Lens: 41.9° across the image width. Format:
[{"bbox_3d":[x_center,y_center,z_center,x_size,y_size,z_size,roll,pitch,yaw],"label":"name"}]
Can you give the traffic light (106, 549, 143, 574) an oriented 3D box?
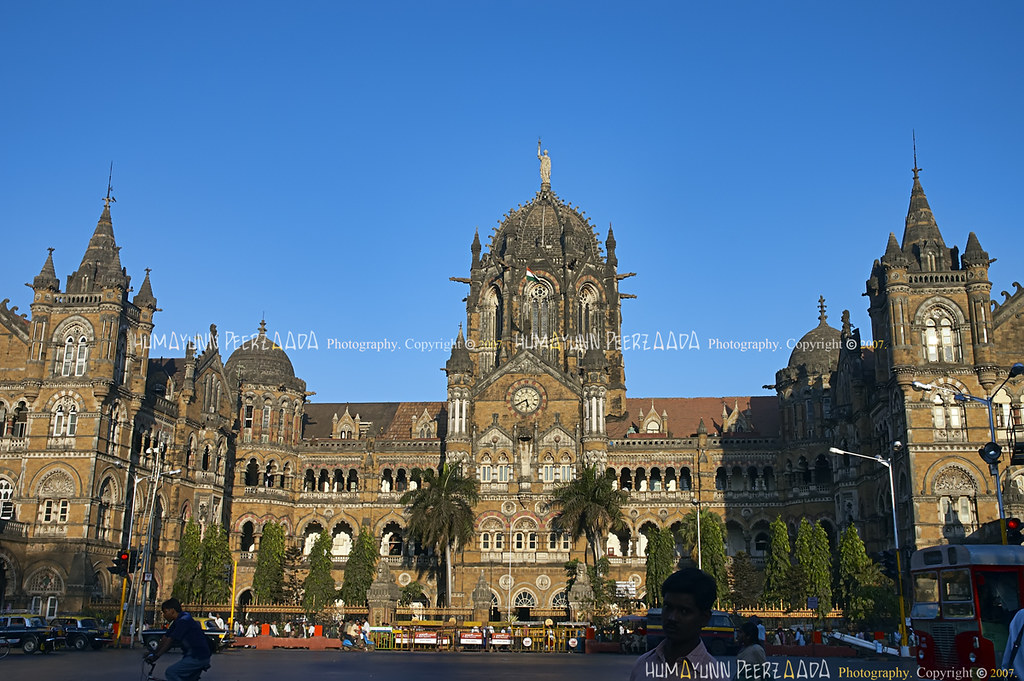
[{"bbox_3d":[-22.729,12.812,78.546,0.823,1.360,1.752,-5,-16,15],"label":"traffic light"}]
